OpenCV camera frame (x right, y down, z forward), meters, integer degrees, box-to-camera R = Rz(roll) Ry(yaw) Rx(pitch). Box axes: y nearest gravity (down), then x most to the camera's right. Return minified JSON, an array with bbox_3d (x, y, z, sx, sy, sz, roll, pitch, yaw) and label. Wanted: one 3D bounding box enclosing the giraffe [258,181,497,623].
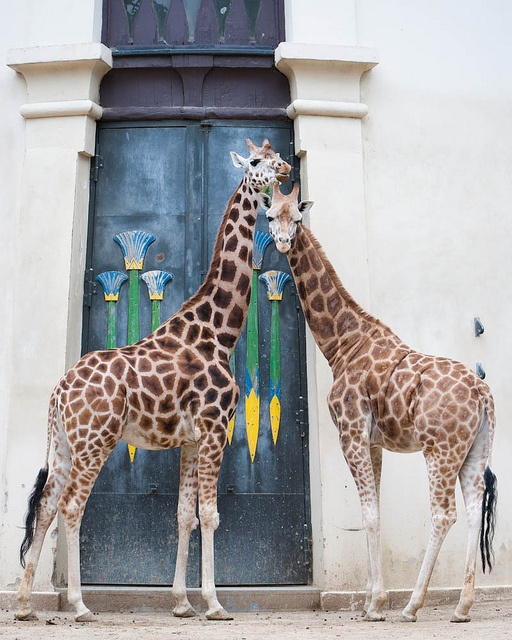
[{"bbox_3d":[0.805,0.537,7.080,1.161,2.403,0.441,-6,-10,28],"label":"giraffe"}]
